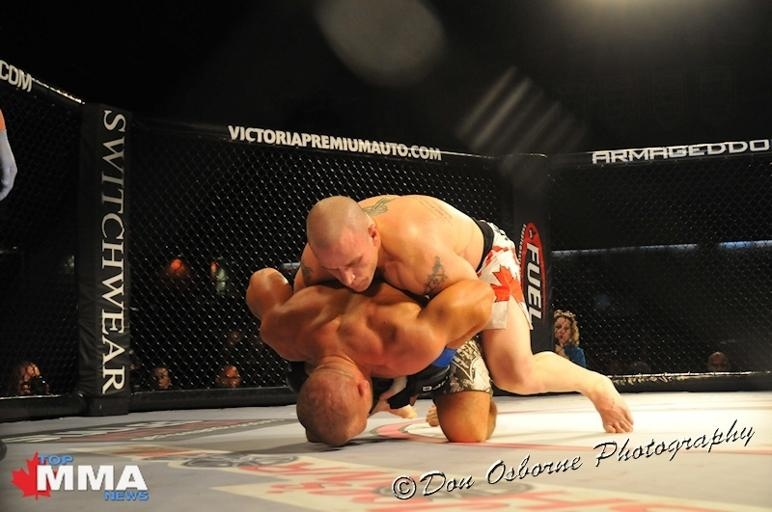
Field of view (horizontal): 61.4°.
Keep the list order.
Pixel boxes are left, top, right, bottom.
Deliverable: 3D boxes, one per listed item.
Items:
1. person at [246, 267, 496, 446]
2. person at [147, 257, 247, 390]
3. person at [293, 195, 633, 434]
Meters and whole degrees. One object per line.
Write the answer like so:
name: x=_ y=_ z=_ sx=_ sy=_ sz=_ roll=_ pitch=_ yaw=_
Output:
person: x=-0.093 y=0.534 z=3.730 sx=1.192 sy=0.901 sz=1.610 roll=5 pitch=2 yaw=34
person: x=-1.787 y=0.616 z=6.004 sx=0.723 sy=1.242 sz=1.053 roll=-4 pitch=-6 yaw=38
person: x=0.591 y=0.371 z=3.847 sx=2.188 sy=1.141 sz=0.940 roll=11 pitch=-17 yaw=-23
